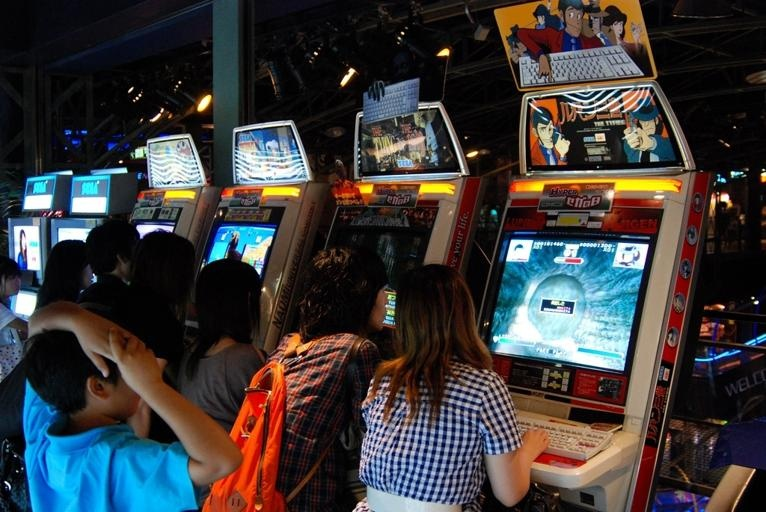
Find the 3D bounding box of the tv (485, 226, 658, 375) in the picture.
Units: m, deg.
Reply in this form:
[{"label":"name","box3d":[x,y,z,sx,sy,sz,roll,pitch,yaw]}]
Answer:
[{"label":"tv","box3d":[1.008,0.251,2.788,0.651,0.587,0.238,11,-13,40]}]
